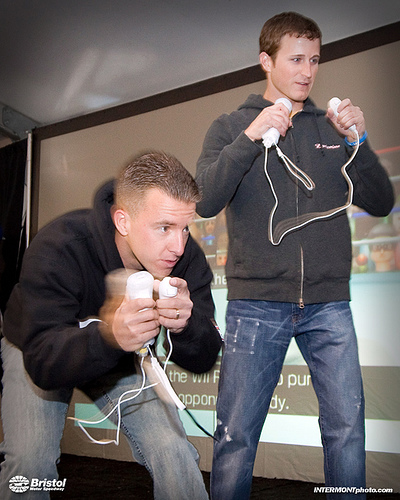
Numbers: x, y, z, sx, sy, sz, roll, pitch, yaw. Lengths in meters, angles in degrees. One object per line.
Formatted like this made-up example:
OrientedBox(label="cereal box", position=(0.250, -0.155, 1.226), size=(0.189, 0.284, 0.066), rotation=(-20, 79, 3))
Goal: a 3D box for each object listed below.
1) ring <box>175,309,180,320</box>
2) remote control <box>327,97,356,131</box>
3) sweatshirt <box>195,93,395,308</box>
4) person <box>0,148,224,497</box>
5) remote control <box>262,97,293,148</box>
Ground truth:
OrientedBox(label="ring", position=(-0.060, 0.171, 1.169), size=(0.008, 0.022, 0.019), rotation=(2, 11, 1))
OrientedBox(label="remote control", position=(0.453, -0.437, 1.408), size=(0.073, 0.117, 0.089), rotation=(-1, 2, -2))
OrientedBox(label="sweatshirt", position=(0.316, -0.208, 1.507), size=(0.683, 0.756, 0.379), rotation=(0, 2, 6))
OrientedBox(label="person", position=(-0.295, 0.226, 1.334), size=(0.709, 1.076, 0.598), rotation=(-1, 2, 4))
OrientedBox(label="remote control", position=(0.227, -0.407, 1.438), size=(0.067, 0.217, 0.062), rotation=(25, -32, 12))
